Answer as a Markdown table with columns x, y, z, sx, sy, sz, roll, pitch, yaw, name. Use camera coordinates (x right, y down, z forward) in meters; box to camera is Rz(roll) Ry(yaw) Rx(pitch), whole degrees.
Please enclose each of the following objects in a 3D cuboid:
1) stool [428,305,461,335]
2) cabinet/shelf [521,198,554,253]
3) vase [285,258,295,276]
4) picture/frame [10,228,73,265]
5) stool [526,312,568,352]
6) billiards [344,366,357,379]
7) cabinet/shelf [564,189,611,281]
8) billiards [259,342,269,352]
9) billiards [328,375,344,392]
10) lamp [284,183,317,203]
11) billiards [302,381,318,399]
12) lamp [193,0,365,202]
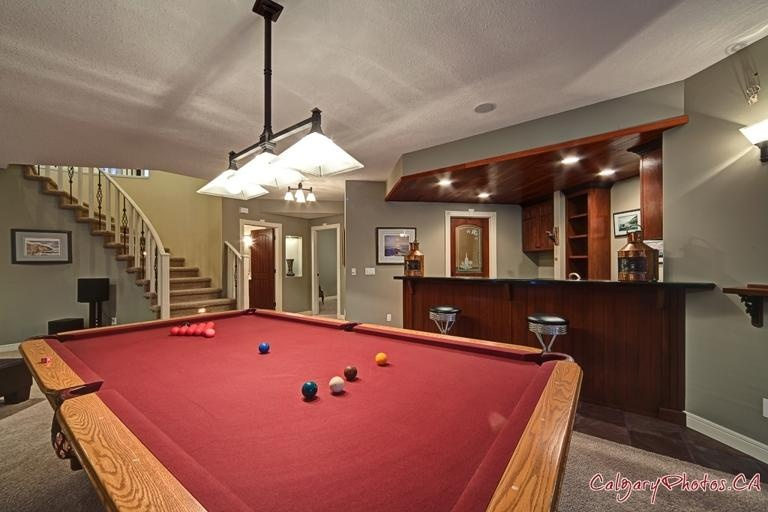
| x | y | z | sx | sy | sz | roll | pitch | yaw | name |
| --- | --- | --- | --- | --- | --- | --- | --- | --- | --- |
| 0.704 | 0.712 | 5.600 | 0.318 | 0.330 | 0.323 | -1 | -1 | 28 | stool |
| 2.379 | -0.486 | 7.549 | 0.282 | 0.733 | 0.796 | 2 | -4 | -14 | cabinet/shelf |
| -1.869 | 0.215 | 9.760 | 0.160 | 0.370 | 0.361 | -1 | -3 | -10 | vase |
| -4.653 | -0.130 | 6.572 | 0.512 | 0.419 | 0.049 | 0 | 1 | -18 | picture/frame |
| 1.614 | 0.706 | 4.931 | 0.440 | 0.393 | 0.450 | 1 | -3 | 36 | stool |
| -0.235 | 0.821 | 3.458 | 0.081 | 0.057 | 0.081 | 4 | -10 | -28 | billiards |
| 2.815 | -0.297 | 6.829 | 0.390 | 1.223 | 0.588 | 0 | -2 | -19 | cabinet/shelf |
| -0.945 | 0.718 | 3.870 | 0.073 | 0.071 | 0.084 | -9 | -34 | -35 | billiards |
| -0.328 | 0.876 | 3.387 | 0.096 | 0.095 | 0.096 | 10 | -20 | -27 | billiards |
| -1.242 | -0.954 | 7.456 | 0.499 | 0.314 | 0.486 | -1 | 4 | -35 | lamp |
| -0.498 | 0.905 | 3.335 | 0.102 | 0.100 | 0.102 | 4 | 7 | 44 | billiards |
| -0.903 | -1.288 | 4.140 | 0.789 | 1.412 | 1.248 | 1 | -3 | -37 | lamp |
